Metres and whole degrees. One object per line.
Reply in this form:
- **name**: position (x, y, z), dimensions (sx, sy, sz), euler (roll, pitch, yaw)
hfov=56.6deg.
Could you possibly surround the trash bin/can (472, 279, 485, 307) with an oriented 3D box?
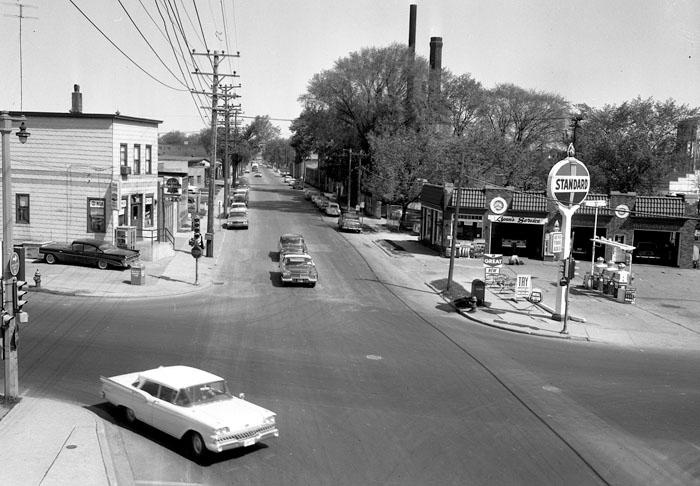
- **trash bin/can**: position (6.921, 2.742, 35.292), dimensions (0.847, 1.530, 0.682), euler (1, 9, -9)

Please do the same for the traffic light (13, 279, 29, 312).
- **traffic light**: position (-11.185, 1.793, 22.139), dimensions (0.319, 1.423, 1.739), euler (-2, 11, -25)

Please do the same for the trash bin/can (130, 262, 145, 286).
- **trash bin/can**: position (-11.554, 1.644, 35.387), dimensions (0.747, 1.148, 0.841), euler (-1, 10, -20)

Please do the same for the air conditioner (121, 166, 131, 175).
- **air conditioner**: position (-14.720, -4.804, 42.723), dimensions (0.484, 0.348, 0.516), euler (0, 1, -16)
